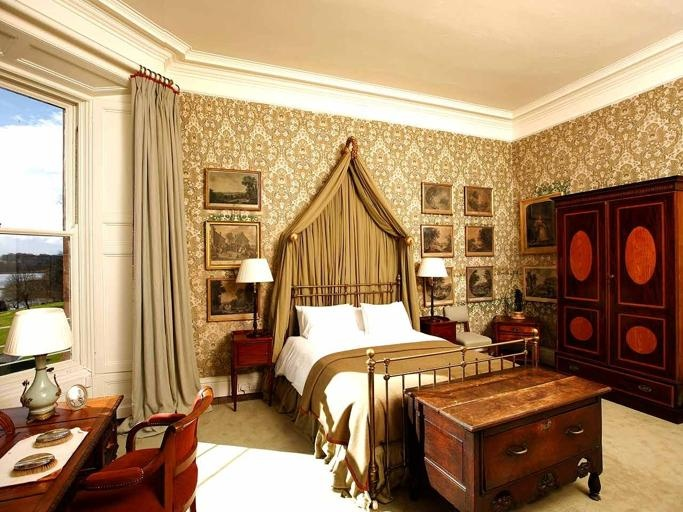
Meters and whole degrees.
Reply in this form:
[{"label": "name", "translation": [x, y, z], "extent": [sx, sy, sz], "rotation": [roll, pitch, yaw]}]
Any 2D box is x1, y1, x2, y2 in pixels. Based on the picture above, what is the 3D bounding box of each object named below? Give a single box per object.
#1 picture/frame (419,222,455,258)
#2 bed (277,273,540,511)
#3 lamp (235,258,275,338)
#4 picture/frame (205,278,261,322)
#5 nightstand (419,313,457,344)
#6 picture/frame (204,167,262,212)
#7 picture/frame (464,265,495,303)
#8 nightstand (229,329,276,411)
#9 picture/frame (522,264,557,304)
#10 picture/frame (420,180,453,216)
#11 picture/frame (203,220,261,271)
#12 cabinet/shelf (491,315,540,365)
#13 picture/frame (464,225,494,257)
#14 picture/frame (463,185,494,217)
[{"label": "picture/frame", "translation": [1.434, -0.246, 7.019], "extent": [0.504, 0.432, 0.038], "rotation": [1, 4, -25]}, {"label": "bed", "translation": [0.324, 1.339, 5.276], "extent": [1.970, 1.556, 2.503], "rotation": [-1, -3, -19]}, {"label": "lamp", "translation": [-1.087, 0.491, 5.752], "extent": [0.427, 0.968, 0.493], "rotation": [-4, 14, -13]}, {"label": "picture/frame", "translation": [-1.417, 0.550, 5.820], "extent": [0.535, 0.530, 0.038], "rotation": [1, -3, -24]}, {"label": "nightstand", "translation": [1.390, 1.044, 6.625], "extent": [0.378, 0.420, 0.408], "rotation": [0, -1, -26]}, {"label": "picture/frame", "translation": [-1.442, -0.861, 5.885], "extent": [0.560, 0.442, 0.027], "rotation": [1, -4, -22]}, {"label": "picture/frame", "translation": [2.187, 0.449, 7.331], "extent": [0.561, 0.602, 0.042], "rotation": [1, -3, -23]}, {"label": "nightstand", "translation": [-1.133, 1.382, 5.740], "extent": [0.550, 0.907, 0.533], "rotation": [-5, 14, -17]}, {"label": "picture/frame", "translation": [3.093, 0.436, 7.099], "extent": [0.040, 0.598, 0.593], "rotation": [1, 0, -23]}, {"label": "picture/frame", "translation": [1.432, -0.895, 7.028], "extent": [0.532, 0.491, 0.053], "rotation": [1, 1, -21]}, {"label": "picture/frame", "translation": [-1.435, -0.126, 5.830], "extent": [0.615, 0.561, 0.063], "rotation": [1, -5, -26]}, {"label": "cabinet/shelf", "translation": [2.378, 1.146, 6.224], "extent": [0.773, 0.833, 0.636], "rotation": [-3, -6, 30]}, {"label": "picture/frame", "translation": [2.180, -0.240, 7.329], "extent": [0.480, 0.439, 0.048], "rotation": [2, -5, -26]}, {"label": "picture/frame", "translation": [2.165, -0.885, 7.330], "extent": [0.493, 0.437, 0.051], "rotation": [1, 1, -24]}]
